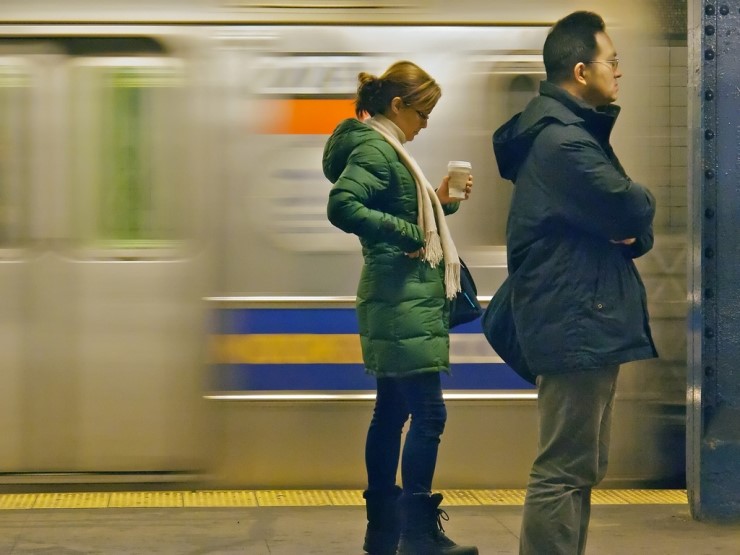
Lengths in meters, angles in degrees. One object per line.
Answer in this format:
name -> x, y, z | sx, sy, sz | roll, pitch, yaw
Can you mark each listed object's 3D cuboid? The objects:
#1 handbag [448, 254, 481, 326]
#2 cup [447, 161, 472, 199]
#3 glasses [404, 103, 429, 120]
handbag -> 0.498, 0.081, 5.957 | 0.157, 0.289, 0.340 | -4, 24, -1
cup -> 0.457, -0.503, 5.850 | 0.168, 0.188, 0.166 | 3, -5, 0
glasses -> 0.241, -0.848, 5.769 | 0.102, 0.054, 0.074 | 23, 9, 3
